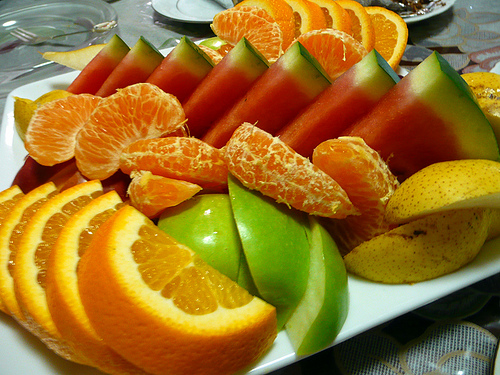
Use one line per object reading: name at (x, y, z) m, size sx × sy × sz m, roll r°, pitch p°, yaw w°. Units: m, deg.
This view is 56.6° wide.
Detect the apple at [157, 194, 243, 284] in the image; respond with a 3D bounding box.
apple at (-0.095, 0.097, 1.021) m, size 0.216 × 0.164 × 0.194 m, roll -4°, pitch 34°, yaw -12°

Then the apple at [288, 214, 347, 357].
apple at (0.138, 0.208, 1.069) m, size 0.141 × 0.134 × 0.412 m, roll -9°, pitch 26°, yaw 6°

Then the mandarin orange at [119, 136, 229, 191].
mandarin orange at (-0.163, -0.063, 1.115) m, size 0.233 × 0.081 × 0.125 m, roll 10°, pitch 38°, yaw -1°

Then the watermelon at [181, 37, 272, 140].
watermelon at (-0.105, -0.278, 1.239) m, size 0.305 × 0.108 × 0.080 m, roll -27°, pitch 41°, yaw 24°

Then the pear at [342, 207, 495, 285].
pear at (0.381, 0.071, 1.123) m, size 0.343 × 0.158 × 0.281 m, roll 3°, pitch 31°, yaw 11°

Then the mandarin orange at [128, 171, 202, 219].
mandarin orange at (-0.224, -0.012, 1.093) m, size 0.196 × 0.063 × 0.141 m, roll 14°, pitch 36°, yaw 22°
